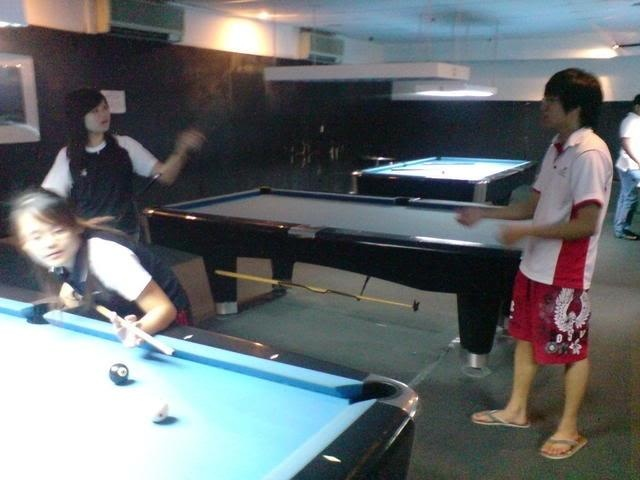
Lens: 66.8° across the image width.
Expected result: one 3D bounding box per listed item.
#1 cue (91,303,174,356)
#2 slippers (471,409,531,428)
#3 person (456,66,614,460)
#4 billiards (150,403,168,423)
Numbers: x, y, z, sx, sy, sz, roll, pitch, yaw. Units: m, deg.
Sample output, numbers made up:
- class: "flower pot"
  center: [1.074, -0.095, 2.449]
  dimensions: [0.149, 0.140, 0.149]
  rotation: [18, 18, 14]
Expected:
- class: "cue"
  center: [-0.585, 0.283, 1.519]
  dimensions: [0.229, 0.026, 0.026]
  rotation: [30, -8, 26]
- class: "slippers"
  center: [0.841, 0.806, 2.264]
  dimensions: [0.203, 0.045, 0.097]
  rotation: [6, 6, 24]
- class: "person"
  center: [0.936, 0.094, 2.093]
  dimensions: [0.650, 1.581, 0.532]
  rotation: [12, 24, 33]
- class: "billiards"
  center: [-0.383, 0.416, 1.168]
  dimensions: [0.041, 0.043, 0.022]
  rotation: [-14, 23, -34]
